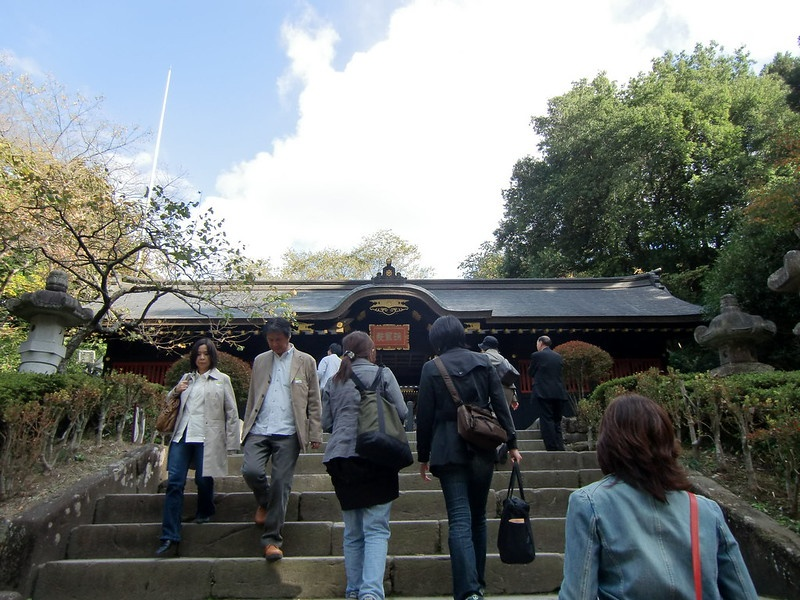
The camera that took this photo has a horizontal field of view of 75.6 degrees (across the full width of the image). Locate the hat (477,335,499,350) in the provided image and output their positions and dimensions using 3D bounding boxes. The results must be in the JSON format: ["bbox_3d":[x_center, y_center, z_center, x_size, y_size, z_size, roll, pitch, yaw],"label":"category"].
[{"bbox_3d":[1.214,0.581,7.039,0.288,0.162,0.308,7,-24,5],"label":"hat"}]

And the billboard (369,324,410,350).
[{"bbox_3d":[-0.241,0.815,11.000,0.858,0.598,0.049,2,-18,-7],"label":"billboard"}]

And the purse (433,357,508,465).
[{"bbox_3d":[0.485,0.747,3.619,0.480,0.714,0.234,-1,-15,2],"label":"purse"}]
